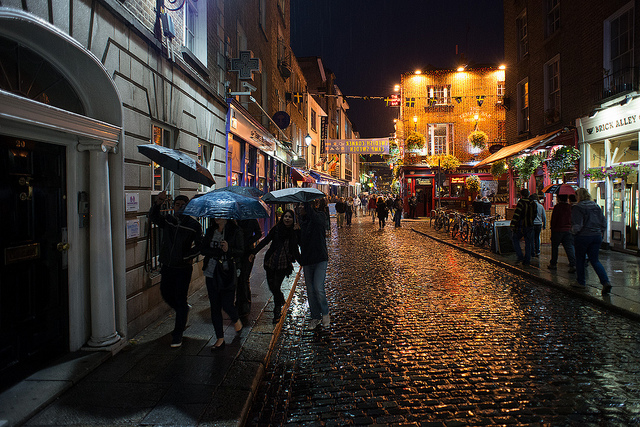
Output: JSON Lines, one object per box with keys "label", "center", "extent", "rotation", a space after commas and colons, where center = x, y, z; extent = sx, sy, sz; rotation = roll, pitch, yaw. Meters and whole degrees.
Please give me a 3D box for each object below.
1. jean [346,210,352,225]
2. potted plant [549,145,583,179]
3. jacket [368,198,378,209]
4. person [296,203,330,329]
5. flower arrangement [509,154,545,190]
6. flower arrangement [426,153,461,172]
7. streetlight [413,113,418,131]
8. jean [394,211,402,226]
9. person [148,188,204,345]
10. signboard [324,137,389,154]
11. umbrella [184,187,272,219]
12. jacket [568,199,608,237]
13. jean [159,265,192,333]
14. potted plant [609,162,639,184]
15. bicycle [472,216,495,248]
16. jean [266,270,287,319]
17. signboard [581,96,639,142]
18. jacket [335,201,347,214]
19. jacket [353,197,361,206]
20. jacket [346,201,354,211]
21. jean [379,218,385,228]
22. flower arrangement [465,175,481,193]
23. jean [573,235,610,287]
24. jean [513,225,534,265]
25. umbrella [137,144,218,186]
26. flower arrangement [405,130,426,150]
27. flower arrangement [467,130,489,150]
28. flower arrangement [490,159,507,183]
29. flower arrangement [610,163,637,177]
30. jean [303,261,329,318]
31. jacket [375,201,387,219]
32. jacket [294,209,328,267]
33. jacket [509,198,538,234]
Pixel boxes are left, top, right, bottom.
{"label": "jean", "center": [1.730, 0.204, 29.904], "extent": [0.269, 0.885, 0.594], "rotation": [2, 10, 7]}
{"label": "potted plant", "center": [8.193, -1.817, 16.440], "extent": [1.058, 0.526, 1.093], "rotation": [-17, -18, -11]}
{"label": "jacket", "center": [3.872, -0.644, 36.135], "extent": [0.814, 0.880, 0.476], "rotation": [1, 7, -7]}
{"label": "person", "center": [-0.113, 0.962, 8.786], "extent": [0.643, 2.306, 0.451], "rotation": [3, 10, 16]}
{"label": "flower arrangement", "center": [8.390, -1.830, 19.641], "extent": [0.554, 1.220, 1.279], "rotation": [-1, 11, -11]}
{"label": "flower arrangement", "center": [8.725, -3.642, 34.550], "extent": [1.019, 1.092, 2.733], "rotation": [-2, 12, -15]}
{"label": "streetlight", "center": [6.965, -6.668, 35.502], "extent": [0.315, 1.174, 0.954], "rotation": [2, 11, 11]}
{"label": "jean", "center": [4.500, 0.287, 28.132], "extent": [0.324, 0.914, 0.765], "rotation": [2, 11, 8]}
{"label": "person", "center": [-2.356, 0.892, 8.076], "extent": [0.790, 2.430, 1.012], "rotation": [-3, 10, -20]}
{"label": "signboard", "center": [2.473, -4.615, 33.409], "extent": [3.636, 1.223, 3.255], "rotation": [-2, 12, -16]}
{"label": "umbrella", "center": [-1.496, -0.088, 7.751], "extent": [1.337, 0.421, 0.622], "rotation": [-1, 11, -10]}
{"label": "jacket", "center": [5.886, 0.146, 10.688], "extent": [0.852, 0.862, 0.516], "rotation": [-6, 4, -16]}
{"label": "jean", "center": [-2.307, 1.357, 8.094], "extent": [0.447, 1.374, 0.439], "rotation": [8, -14, -43]}
{"label": "potted plant", "center": [9.537, -1.261, 15.104], "extent": [0.632, 0.438, 0.587], "rotation": [17, 3, 25]}
{"label": "bicycle", "center": [5.812, 0.764, 17.231], "extent": [0.452, 1.124, 2.013], "rotation": [2, 11, 8]}
{"label": "jean", "center": [-0.847, 1.506, 9.379], "extent": [0.372, 0.864, 0.627], "rotation": [-2, 11, -13]}
{"label": "signboard", "center": [9.419, -2.929, 15.472], "extent": [0.675, 0.836, 2.408], "rotation": [5, 8, -9]}
{"label": "jacket", "center": [1.203, -0.409, 28.821], "extent": [0.806, 0.499, 0.823], "rotation": [8, 41, -4]}
{"label": "jacket", "center": [3.063, -0.843, 41.014], "extent": [0.828, 0.895, 0.494], "rotation": [2, 10, 6]}
{"label": "jacket", "center": [1.886, -0.491, 31.213], "extent": [0.640, 0.823, 0.749], "rotation": [0, -4, 10]}
{"label": "jean", "center": [3.371, 0.502, 26.716], "extent": [0.134, 0.494, 0.352], "rotation": [-4, 11, -24]}
{"label": "flower arrangement", "center": [9.705, -1.871, 30.358], "extent": [0.889, 1.043, 0.930], "rotation": [2, -7, -3]}
{"label": "jean", "center": [5.870, 1.074, 10.411], "extent": [0.395, 1.139, 0.827], "rotation": [-3, 11, -20]}
{"label": "jean", "center": [5.766, 0.801, 13.767], "extent": [0.481, 1.608, 0.508], "rotation": [-1, 15, 17]}
{"label": "umbrella", "center": [-2.466, -0.784, 8.354], "extent": [1.233, 0.784, 0.766], "rotation": [-4, 12, -22]}
{"label": "flower arrangement", "center": [6.456, -4.930, 32.651], "extent": [1.093, 1.327, 1.189], "rotation": [0, -3, -9]}
{"label": "flower arrangement", "center": [9.398, -4.441, 28.669], "extent": [1.276, 1.213, 1.427], "rotation": [-4, 11, 21]}
{"label": "flower arrangement", "center": [8.649, -2.090, 23.339], "extent": [0.667, 1.172, 2.437], "rotation": [5, 12, 22]}
{"label": "flower arrangement", "center": [9.430, -1.351, 14.992], "extent": [0.433, 0.297, 0.367], "rotation": [2, 5, -3]}
{"label": "jean", "center": [-0.079, 1.405, 8.814], "extent": [0.519, 1.123, 0.227], "rotation": [5, 11, 25]}
{"label": "jacket", "center": [3.442, -0.131, 26.758], "extent": [0.280, 0.792, 0.727], "rotation": [4, 3, -25]}
{"label": "jacket", "center": [-0.256, 0.398, 8.760], "extent": [0.639, 1.066, 0.656], "rotation": [-10, -36, 14]}
{"label": "jacket", "center": [5.860, 0.107, 13.880], "extent": [0.813, 1.135, 0.492], "rotation": [13, 2, 13]}
